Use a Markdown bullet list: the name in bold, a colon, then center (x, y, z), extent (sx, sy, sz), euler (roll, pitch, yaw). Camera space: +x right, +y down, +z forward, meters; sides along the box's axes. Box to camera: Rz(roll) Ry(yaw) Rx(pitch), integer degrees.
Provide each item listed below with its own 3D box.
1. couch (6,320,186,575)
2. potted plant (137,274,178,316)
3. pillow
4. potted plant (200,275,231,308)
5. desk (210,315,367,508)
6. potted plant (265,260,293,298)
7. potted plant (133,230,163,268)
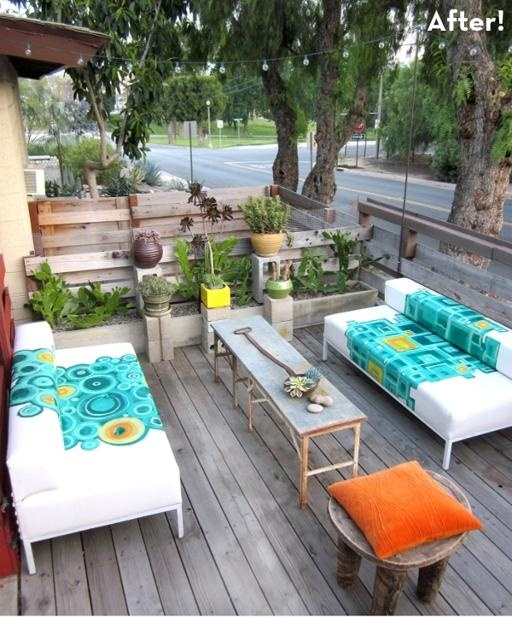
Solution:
- **couch**: center (-0.929, 0.711, 2.417), extent (0.754, 0.842, 1.239), euler (-10, 22, -23)
- **potted plant**: center (-0.954, -0.140, 4.253), extent (0.385, 0.386, 0.376), euler (0, 15, -8)
- **pillow**: center (0.576, 0.757, 1.613), extent (0.340, 0.108, 0.352), euler (-8, 16, -20)
- **potted plant**: center (-0.409, -0.186, 4.344), extent (0.287, 0.342, 0.291), euler (-5, 21, -10)
- **desk**: center (0.165, 0.601, 2.989), extent (0.503, 0.709, 1.585), euler (-9, 21, -21)
- **potted plant**: center (0.243, -0.315, 4.531), extent (0.256, 0.403, 0.355), euler (-2, 20, -2)
- **potted plant**: center (-1.143, -0.608, 4.457), extent (0.306, 0.381, 0.304), euler (-7, 21, -16)
